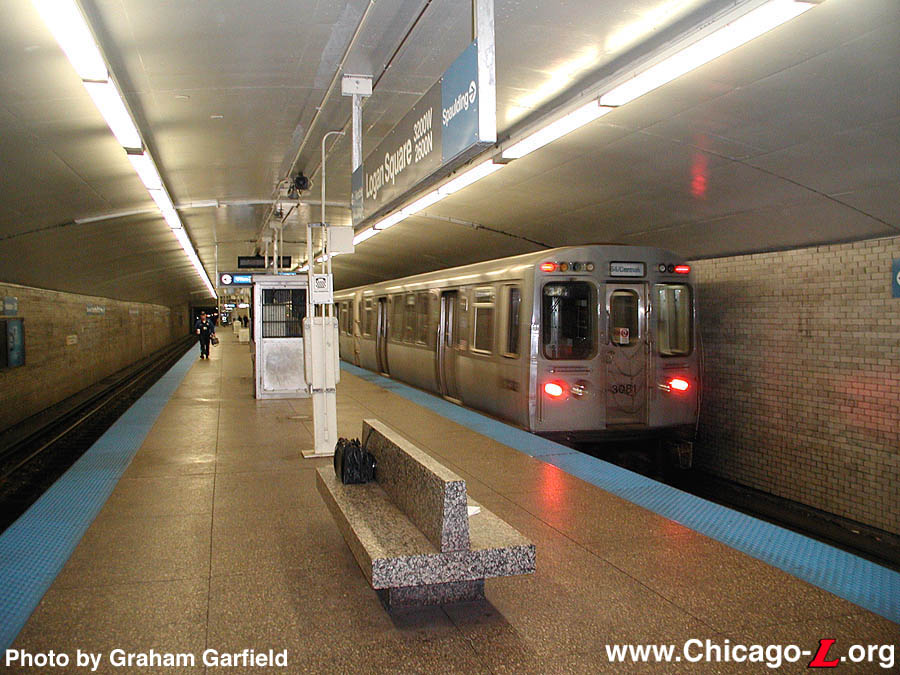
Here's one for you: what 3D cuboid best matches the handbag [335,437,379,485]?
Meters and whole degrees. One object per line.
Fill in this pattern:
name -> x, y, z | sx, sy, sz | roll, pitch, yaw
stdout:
handbag -> -0.984, 1.217, 5.916 | 0.350, 0.504, 0.510 | -2, 4, -20

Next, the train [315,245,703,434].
train -> 0.763, -0.030, 14.853 | 2.361, 2.834, 11.613 | -2, 1, -19
